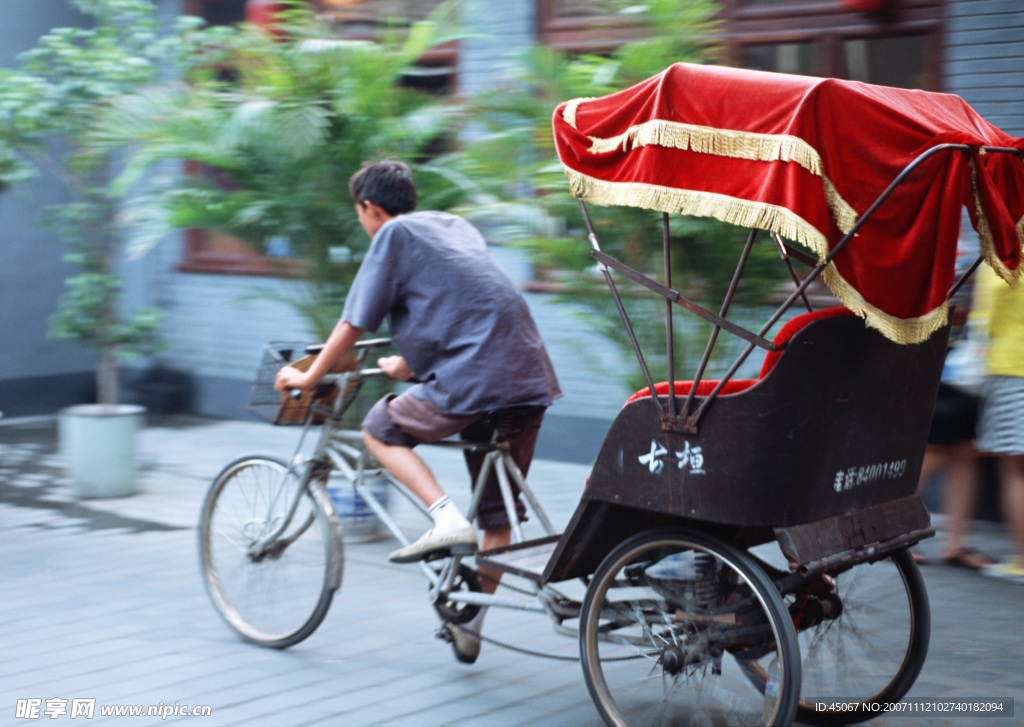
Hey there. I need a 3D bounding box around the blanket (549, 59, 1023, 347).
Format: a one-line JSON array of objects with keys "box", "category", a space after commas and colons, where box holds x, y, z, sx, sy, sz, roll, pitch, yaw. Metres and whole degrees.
[{"box": [1.216, -0.634, 6.441, 1.457, 0.730, 1.558, 1, 11, -45], "category": "blanket"}]

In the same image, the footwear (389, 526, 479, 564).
[{"box": [-0.374, 0.915, 7.148, 0.534, 0.195, 0.173, -8, -29, 14], "category": "footwear"}]

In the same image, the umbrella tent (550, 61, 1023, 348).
[{"box": [1.203, -0.833, 6.425, 1.463, 0.724, 1.553, 0, 11, -42], "category": "umbrella tent"}]

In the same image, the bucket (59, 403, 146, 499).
[{"box": [-3.018, 0.615, 10.817, 0.720, 0.627, 0.643, -8, 17, -36], "category": "bucket"}]

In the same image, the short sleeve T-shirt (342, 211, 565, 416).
[{"box": [-0.343, -0.317, 7.472, 0.960, 0.973, 0.992, -13, 19, -29], "category": "short sleeve T-shirt"}]

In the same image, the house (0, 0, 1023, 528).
[{"box": [-0.673, -0.900, 13.719, 9.163, 5.766, 5.026, 4, 4, 36], "category": "house"}]

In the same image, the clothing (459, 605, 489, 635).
[{"box": [-0.178, 1.343, 7.392, 0.035, 0.152, 0.153, 47, -28, -16], "category": "clothing"}]

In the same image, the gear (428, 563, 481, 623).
[{"box": [-0.264, 1.173, 7.306, 0.299, 0.278, 0.108, -13, 1, 30], "category": "gear"}]
